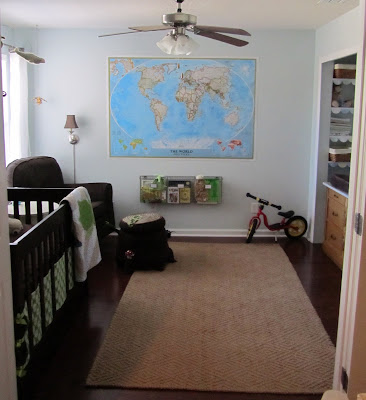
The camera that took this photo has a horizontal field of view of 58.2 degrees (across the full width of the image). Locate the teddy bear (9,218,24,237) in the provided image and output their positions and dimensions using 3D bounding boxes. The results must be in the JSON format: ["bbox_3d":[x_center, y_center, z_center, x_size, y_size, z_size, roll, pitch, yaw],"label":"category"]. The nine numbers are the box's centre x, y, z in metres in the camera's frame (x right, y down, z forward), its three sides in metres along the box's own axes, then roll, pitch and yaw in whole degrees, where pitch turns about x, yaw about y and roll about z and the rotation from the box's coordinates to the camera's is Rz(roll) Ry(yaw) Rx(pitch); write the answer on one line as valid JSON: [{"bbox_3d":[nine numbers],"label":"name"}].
[{"bbox_3d":[-1.262,0.207,2.490,0.080,0.154,0.086,-10,1,30],"label":"teddy bear"}]

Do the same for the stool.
[{"bbox_3d":[-0.435,0.468,3.634,0.656,0.456,0.552,0,10,7],"label":"stool"}]

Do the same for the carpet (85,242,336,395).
[{"bbox_3d":[0.293,0.887,2.898,1.672,0.044,2.206,1,10,6],"label":"carpet"}]

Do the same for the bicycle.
[{"bbox_3d":[1.303,0.236,4.636,0.901,0.576,0.578,6,12,1],"label":"bicycle"}]
